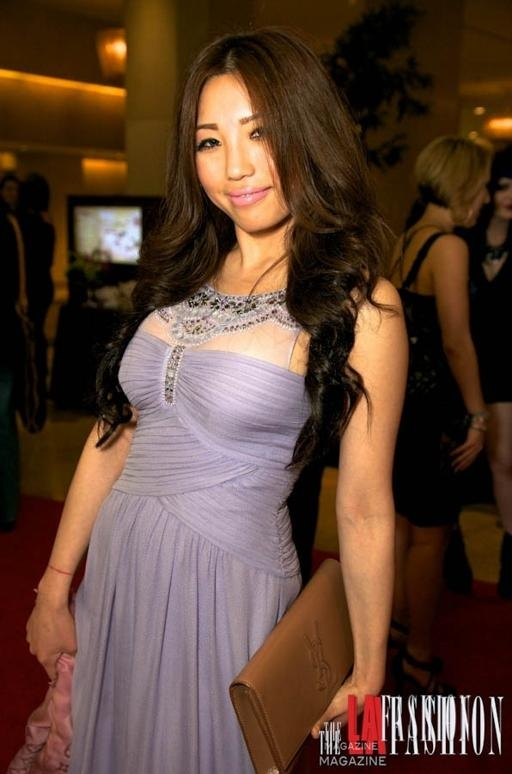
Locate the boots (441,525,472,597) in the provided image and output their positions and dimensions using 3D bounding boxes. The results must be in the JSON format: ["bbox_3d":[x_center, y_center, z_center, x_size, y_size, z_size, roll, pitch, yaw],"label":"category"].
[{"bbox_3d":[0.489,0.433,1.575,0.079,0.049,0.148,-17,17,22],"label":"boots"}]

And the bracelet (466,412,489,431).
[{"bbox_3d":[0.509,0.081,1.475,0.034,0.035,0.040,3,-17,10],"label":"bracelet"}]

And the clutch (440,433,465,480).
[{"bbox_3d":[0.459,0.160,1.520,0.055,0.091,0.067,1,-1,28],"label":"clutch"}]

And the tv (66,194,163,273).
[{"bbox_3d":[-0.415,-0.469,1.948,0.380,0.258,0.080,4,-3,20],"label":"tv"}]
